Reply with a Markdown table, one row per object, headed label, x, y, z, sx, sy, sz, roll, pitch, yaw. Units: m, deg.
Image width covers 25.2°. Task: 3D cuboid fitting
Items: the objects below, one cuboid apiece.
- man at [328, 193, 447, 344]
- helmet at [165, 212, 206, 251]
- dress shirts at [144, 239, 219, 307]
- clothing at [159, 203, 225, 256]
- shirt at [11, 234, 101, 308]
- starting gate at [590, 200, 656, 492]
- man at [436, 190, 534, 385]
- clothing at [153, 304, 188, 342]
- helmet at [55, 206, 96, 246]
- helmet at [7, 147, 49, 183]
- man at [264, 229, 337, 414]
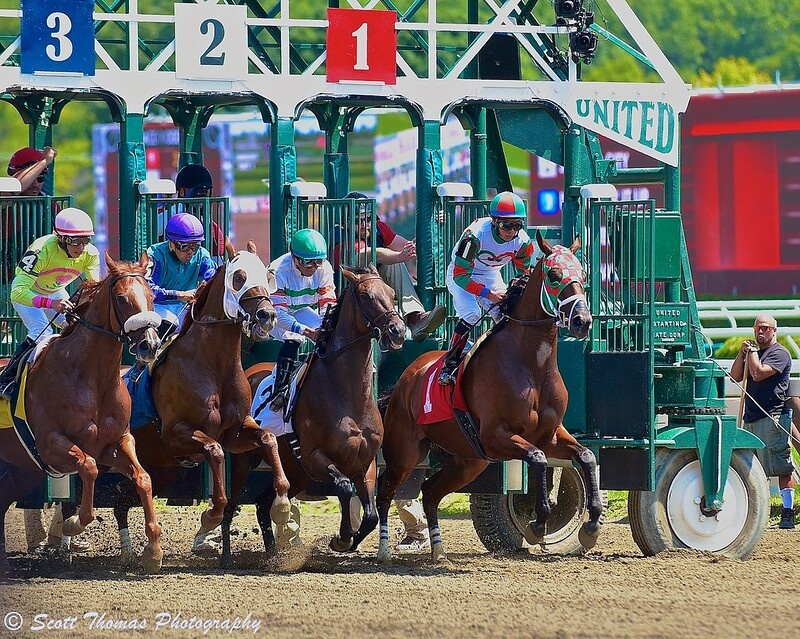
| label | x | y | z | sx | sy | sz | roll | pitch | yaw |
| --- | --- | --- | --- | --- | --- | --- | --- | --- | --- |
| man | -0.107 | -0.430 | 14.014 | 0.797 | 1.263 | 0.486 | -14 | 5 | 39 |
| helmet | -1.533 | -0.664 | 12.832 | 0.187 | 0.138 | 0.235 | -6 | 6 | -42 |
| dress shirts | -1.706 | -0.325 | 13.266 | 0.438 | 0.576 | 0.494 | 3 | 9 | -39 |
| clothing | -1.527 | -0.742 | 13.782 | 0.368 | 0.580 | 0.197 | 0 | 1 | 5 |
| shirt | -2.451 | -0.337 | 12.731 | 0.458 | 0.468 | 0.613 | 21 | 5 | -37 |
| starting gate | 1.622 | 0.057 | 12.969 | 0.478 | 2.204 | 0.162 | -1 | 39 | 5 |
| man | 0.660 | -0.256 | 13.111 | 0.739 | 1.430 | 0.589 | 16 | 15 | 38 |
| clothing | -1.637 | 0.020 | 12.721 | 0.216 | 0.166 | 0.275 | -4 | 27 | -1 |
| helmet | -2.276 | -0.674 | 12.503 | 0.194 | 0.156 | 0.270 | -4 | 9 | -34 |
| helmet | -3.001 | -1.263 | 14.249 | 0.317 | 0.203 | 0.235 | -16 | 7 | 32 |
| man | -0.716 | -0.174 | 12.896 | 0.518 | 1.317 | 1.205 | -1 | 20 | -14 |
